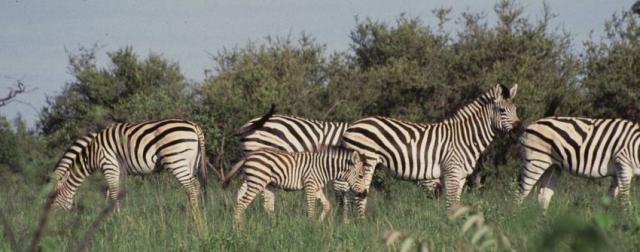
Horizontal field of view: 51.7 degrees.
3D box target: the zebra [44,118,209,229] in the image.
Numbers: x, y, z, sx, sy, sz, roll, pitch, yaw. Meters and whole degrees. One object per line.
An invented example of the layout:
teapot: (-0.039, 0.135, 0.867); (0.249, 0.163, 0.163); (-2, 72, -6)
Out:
zebra: (-7.836, 1.828, 27.586); (7.396, 3.441, 1.893); (-7, -5, 14)
